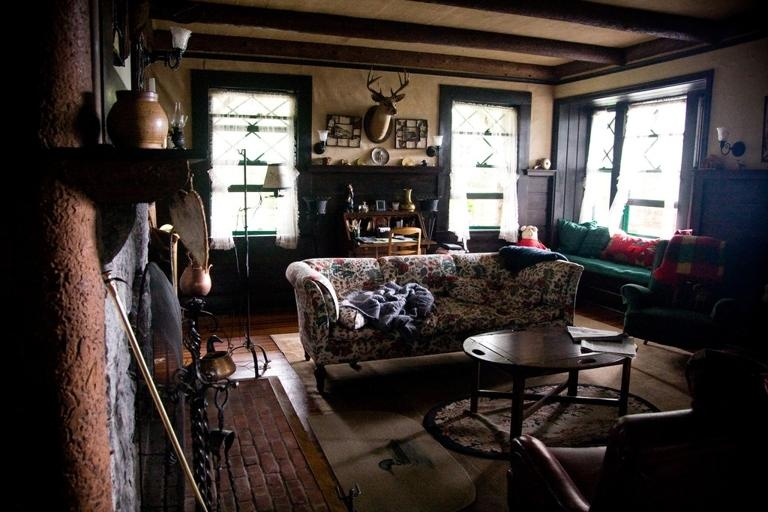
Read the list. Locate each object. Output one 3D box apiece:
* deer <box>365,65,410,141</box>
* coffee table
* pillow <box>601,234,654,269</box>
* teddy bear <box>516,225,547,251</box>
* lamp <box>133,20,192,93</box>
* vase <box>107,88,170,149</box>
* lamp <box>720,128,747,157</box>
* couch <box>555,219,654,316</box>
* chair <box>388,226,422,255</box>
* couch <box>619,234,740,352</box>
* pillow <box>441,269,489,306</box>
[{"bbox_3d":[0.014,-1.768,6.642,0.557,0.861,0.730,0,8,2],"label":"deer"},{"bbox_3d":[1.109,0.872,3.899,1.205,0.495,0.862,-1,6,-21],"label":"coffee table"},{"bbox_3d":[2.887,-0.089,6.604,0.186,0.374,0.592,32,-7,-20],"label":"pillow"},{"bbox_3d":[1.749,-0.224,6.823,0.391,0.342,0.250,1,-9,5],"label":"teddy bear"},{"bbox_3d":[-1.591,-1.407,4.063,0.397,0.443,0.306,4,16,-9],"label":"lamp"},{"bbox_3d":[-0.940,-0.508,2.142,0.231,0.203,0.229,9,14,26],"label":"vase"},{"bbox_3d":[3.395,-1.122,5.629,0.122,0.298,0.316,-3,9,-21],"label":"lamp"},{"bbox_3d":[2.642,0.078,6.889,1.265,0.739,0.623,13,27,39],"label":"couch"},{"bbox_3d":[0.235,-0.167,6.423,0.346,0.504,0.354,0,12,-6],"label":"chair"},{"bbox_3d":[2.620,0.297,4.965,0.807,0.896,0.939,12,11,43],"label":"couch"},{"bbox_3d":[0.722,0.300,5.064,0.371,0.080,0.220,7,25,-3],"label":"pillow"}]
